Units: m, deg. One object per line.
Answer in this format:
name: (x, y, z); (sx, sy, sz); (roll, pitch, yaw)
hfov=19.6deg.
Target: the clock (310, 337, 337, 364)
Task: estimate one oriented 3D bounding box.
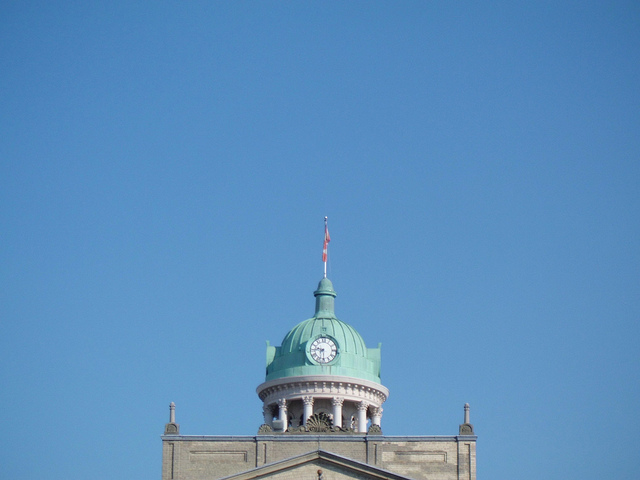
clock: (0.322, 9.635, 160.834); (1.569, 2.152, 0.249); (1, -15, -6)
